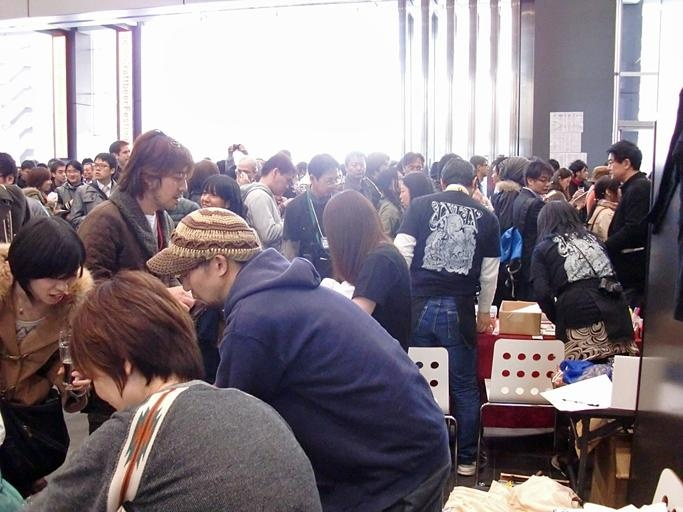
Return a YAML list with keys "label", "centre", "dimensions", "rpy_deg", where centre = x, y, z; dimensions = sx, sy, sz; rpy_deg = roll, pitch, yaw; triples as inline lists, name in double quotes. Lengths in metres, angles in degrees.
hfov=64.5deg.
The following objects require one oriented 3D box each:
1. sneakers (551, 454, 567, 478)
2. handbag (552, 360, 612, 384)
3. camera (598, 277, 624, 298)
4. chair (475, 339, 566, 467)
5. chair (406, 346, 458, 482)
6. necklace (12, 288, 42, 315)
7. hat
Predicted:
- label: "sneakers"
  centre: [1.479, 1.430, 3.693]
  dimensions: [0.047, 0.055, 0.135]
  rpy_deg: [-8, 15, -2]
- label: "handbag"
  centre: [1.429, 0.689, 3.221]
  dimensions: [0.201, 0.090, 0.198]
  rpy_deg: [-7, -6, 20]
- label: "camera"
  centre: [1.722, 0.202, 3.460]
  dimensions: [0.134, 0.052, 0.100]
  rpy_deg: [19, 1, -32]
- label: "chair"
  centre: [1.172, 0.871, 3.753]
  dimensions: [0.459, 0.987, 0.546]
  rpy_deg: [0, 21, 6]
- label: "chair"
  centre: [0.612, 1.013, 3.396]
  dimensions: [0.309, 0.641, 0.357]
  rpy_deg: [-8, -17, 23]
- label: "necklace"
  centre: [-1.179, 0.178, 2.039]
  dimensions: [0.096, 0.096, 0.076]
  rpy_deg: [-1, -1, 41]
- label: "hat"
  centre: [-0.407, -0.061, 1.617]
  dimensions: [0.266, 0.163, 0.190]
  rpy_deg: [2, 6, -2]
